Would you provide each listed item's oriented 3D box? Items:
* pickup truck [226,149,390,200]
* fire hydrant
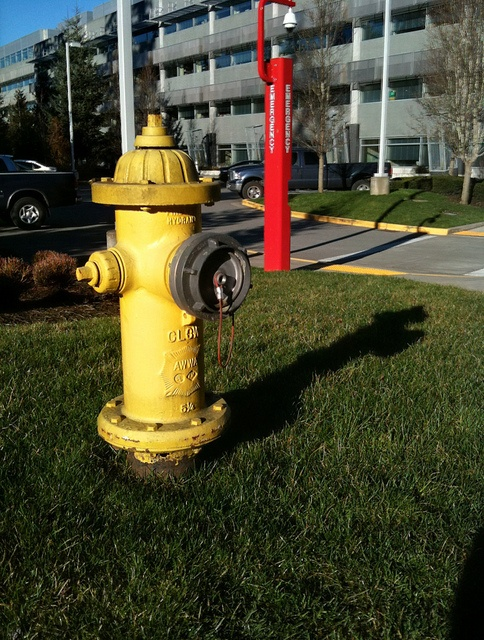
[{"bbox_3d":[2.980,-6.903,25.777,7.037,2.266,1.625,-7,12,-23],"label":"pickup truck"},{"bbox_3d":[-0.307,-0.062,2.230,0.696,1.499,0.486,-1,11,4],"label":"fire hydrant"}]
